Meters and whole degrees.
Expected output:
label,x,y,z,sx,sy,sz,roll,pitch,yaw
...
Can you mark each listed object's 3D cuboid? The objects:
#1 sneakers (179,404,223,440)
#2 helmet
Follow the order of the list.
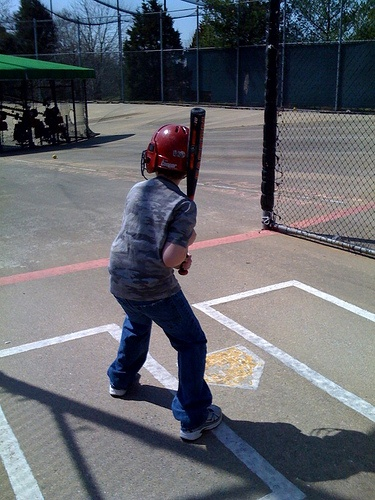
label,x,y,z,sx,sy,sz,roll,pitch,yaw
sneakers,0.095,0.943,2.400,0.101,0.098,0.263,22,35,38
helmet,-0.087,-0.509,2.261,0.240,0.210,0.301,-3,8,-28
